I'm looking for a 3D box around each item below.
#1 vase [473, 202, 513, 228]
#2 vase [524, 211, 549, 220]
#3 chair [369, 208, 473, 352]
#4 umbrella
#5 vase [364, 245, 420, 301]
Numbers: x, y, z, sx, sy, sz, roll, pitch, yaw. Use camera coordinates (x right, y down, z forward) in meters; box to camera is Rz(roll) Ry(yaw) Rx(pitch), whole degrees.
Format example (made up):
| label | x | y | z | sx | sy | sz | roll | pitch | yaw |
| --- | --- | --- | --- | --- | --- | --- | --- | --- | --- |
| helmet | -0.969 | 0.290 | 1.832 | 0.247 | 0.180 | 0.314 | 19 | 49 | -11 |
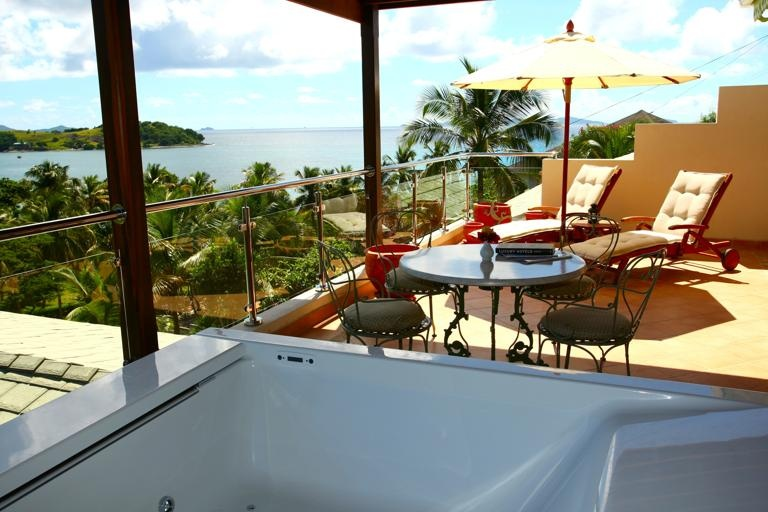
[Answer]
| label | x | y | z | sx | sy | sz | roll | pitch | yaw |
| --- | --- | --- | --- | --- | --- | --- | --- | --- | --- |
| vase | 1.401 | -0.545 | 6.660 | 0.395 | 0.274 | 0.394 | 6 | 14 | 25 |
| vase | 2.086 | -0.546 | 7.036 | 0.256 | 0.090 | 0.192 | 2 | 11 | 21 |
| chair | 0.155 | 0.128 | 4.202 | 1.010 | 1.000 | 0.993 | 4 | 16 | 20 |
| umbrella | 1.390 | -1.226 | 4.257 | 2.024 | 1.917 | 1.823 | -4 | 13 | -7 |
| vase | 0.050 | 0.143 | 4.372 | 0.483 | 0.359 | 0.446 | -1 | 11 | -10 |
